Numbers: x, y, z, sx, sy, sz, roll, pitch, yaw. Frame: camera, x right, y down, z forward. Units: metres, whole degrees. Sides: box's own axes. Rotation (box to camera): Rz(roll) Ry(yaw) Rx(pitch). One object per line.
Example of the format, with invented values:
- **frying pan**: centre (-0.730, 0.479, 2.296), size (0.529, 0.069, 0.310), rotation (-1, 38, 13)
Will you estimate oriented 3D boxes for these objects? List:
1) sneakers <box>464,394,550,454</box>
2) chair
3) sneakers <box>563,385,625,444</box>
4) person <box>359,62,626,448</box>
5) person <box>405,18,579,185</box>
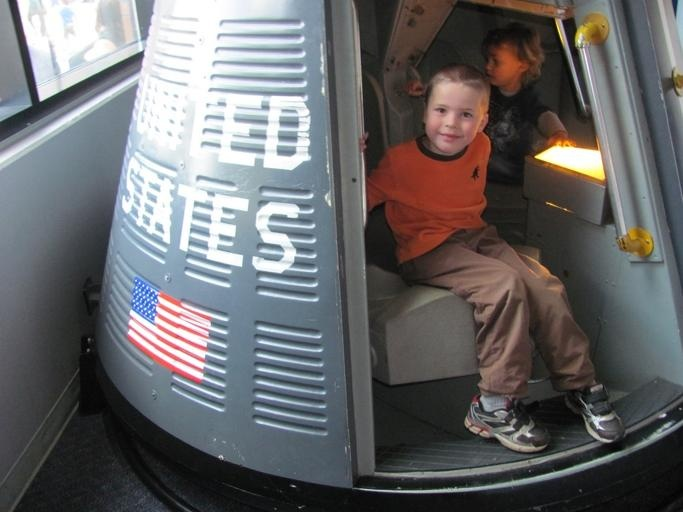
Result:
- **sneakers**: centre (0.485, 0.470, 1.621), size (0.226, 0.120, 0.097), rotation (11, 17, 41)
- **chair**: centre (0.379, -0.515, 2.123), size (0.384, 0.531, 0.540), rotation (1, 1, -9)
- **sneakers**: centre (0.727, 0.436, 1.581), size (0.070, 0.089, 0.192), rotation (-15, 24, -7)
- **person**: centre (0.489, -0.007, 1.689), size (0.897, 1.081, 0.395), rotation (19, 22, 39)
- **person**: centre (0.655, -0.643, 2.339), size (0.426, 0.656, 0.778), rotation (-13, 26, -20)
